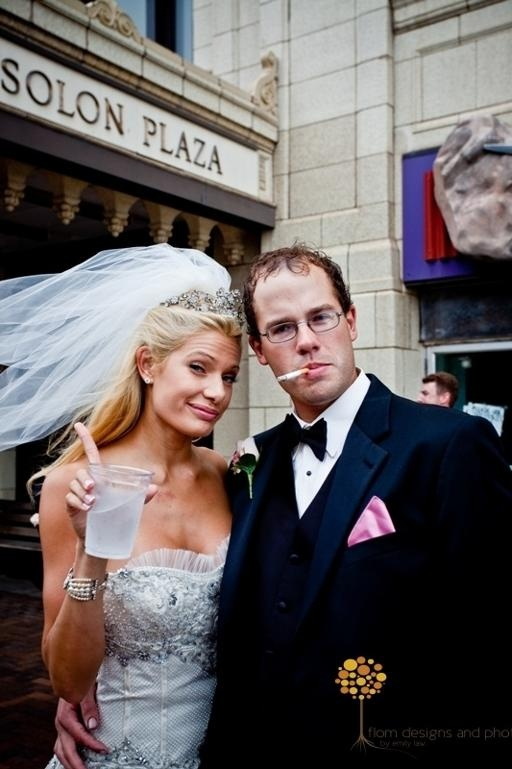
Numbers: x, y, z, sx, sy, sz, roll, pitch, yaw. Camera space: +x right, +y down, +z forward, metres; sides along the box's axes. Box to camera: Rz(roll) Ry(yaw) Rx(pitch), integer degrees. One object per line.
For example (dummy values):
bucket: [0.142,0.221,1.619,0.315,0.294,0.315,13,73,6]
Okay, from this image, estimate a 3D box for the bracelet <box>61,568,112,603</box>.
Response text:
bracelet: [-0.481,0.569,2.351,0.086,0.061,0.104,10,1,-6]

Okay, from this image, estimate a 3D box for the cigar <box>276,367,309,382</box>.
cigar: [0.126,-0.034,2.708,0.036,0.036,0.164,-3,8,33]

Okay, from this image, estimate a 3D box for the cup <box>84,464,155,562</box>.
cup: [-0.378,0.351,2.222,0.177,0.221,0.101,3,1,12]
